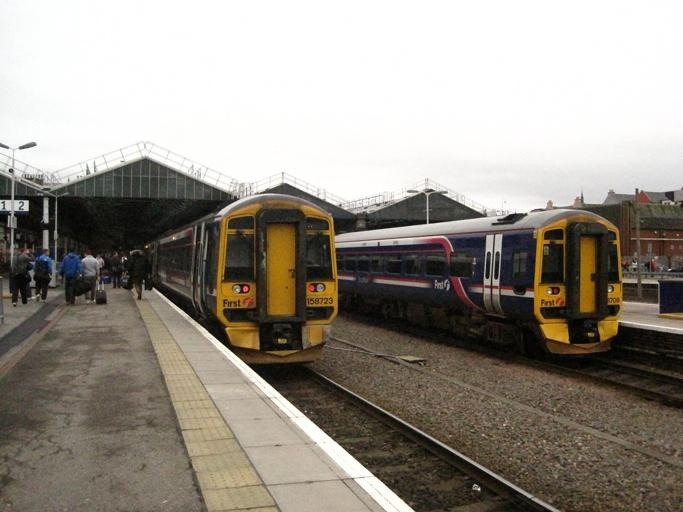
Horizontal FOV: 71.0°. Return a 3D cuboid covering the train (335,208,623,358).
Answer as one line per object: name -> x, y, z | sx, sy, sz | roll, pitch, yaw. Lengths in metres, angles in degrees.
train -> 3.476, 0.574, 17.343 | 2.805, 3.776, 12.541 | 0, 1, -25

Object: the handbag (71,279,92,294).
handbag -> -9.394, 1.055, 17.464 | 0.548, 0.494, 0.288 | 7, 17, -19
